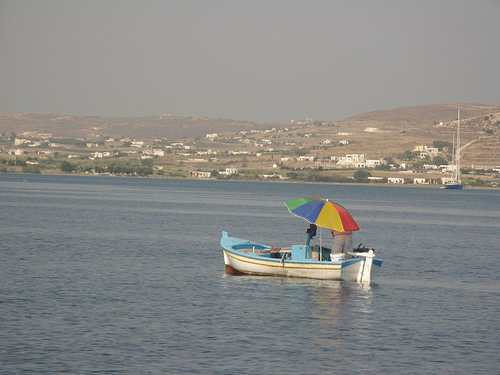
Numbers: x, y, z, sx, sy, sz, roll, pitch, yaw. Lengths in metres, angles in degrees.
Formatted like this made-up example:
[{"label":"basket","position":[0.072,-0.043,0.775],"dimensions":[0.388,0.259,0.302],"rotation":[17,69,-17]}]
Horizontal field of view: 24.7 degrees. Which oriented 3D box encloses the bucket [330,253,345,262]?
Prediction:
[{"label":"bucket","position":[7.344,5.785,93.490],"dimensions":[0.861,0.359,0.787],"rotation":[0,1,0]}]
